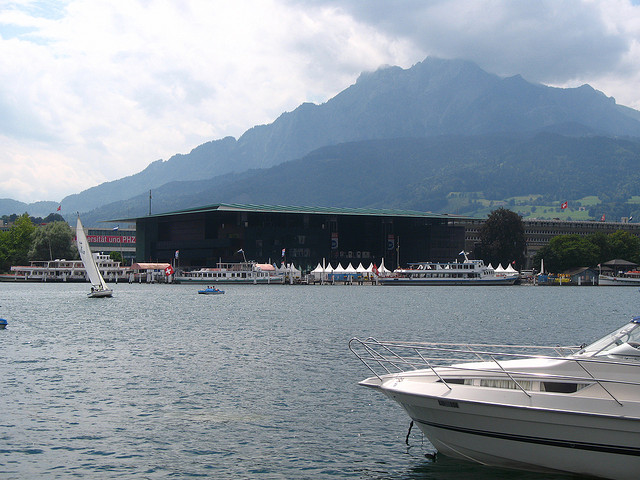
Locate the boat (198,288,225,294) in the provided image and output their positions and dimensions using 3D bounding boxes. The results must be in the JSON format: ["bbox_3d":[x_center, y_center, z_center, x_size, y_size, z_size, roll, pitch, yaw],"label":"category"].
[{"bbox_3d":[-23.823,11.331,178.082,3.131,0.938,2.280,1,-2,11],"label":"boat"}]

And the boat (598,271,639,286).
[{"bbox_3d":[85.501,10.925,230.709,10.457,3.532,3.958,0,-2,22],"label":"boat"}]
